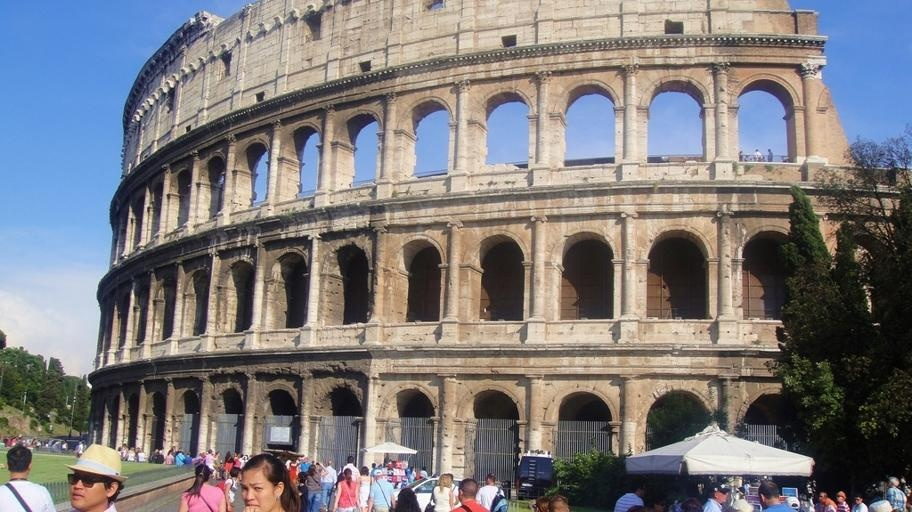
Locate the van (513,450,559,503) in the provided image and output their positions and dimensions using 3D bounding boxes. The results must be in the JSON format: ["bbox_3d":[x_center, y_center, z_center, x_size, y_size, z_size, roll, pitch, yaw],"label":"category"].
[{"bbox_3d":[3.706,10.197,43.859,1.612,1.383,2.336,-1,-18,4],"label":"van"}]

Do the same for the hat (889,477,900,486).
[{"bbox_3d":[16.636,8.521,35.811,0.375,0.263,0.486,0,-14,39],"label":"hat"}]
